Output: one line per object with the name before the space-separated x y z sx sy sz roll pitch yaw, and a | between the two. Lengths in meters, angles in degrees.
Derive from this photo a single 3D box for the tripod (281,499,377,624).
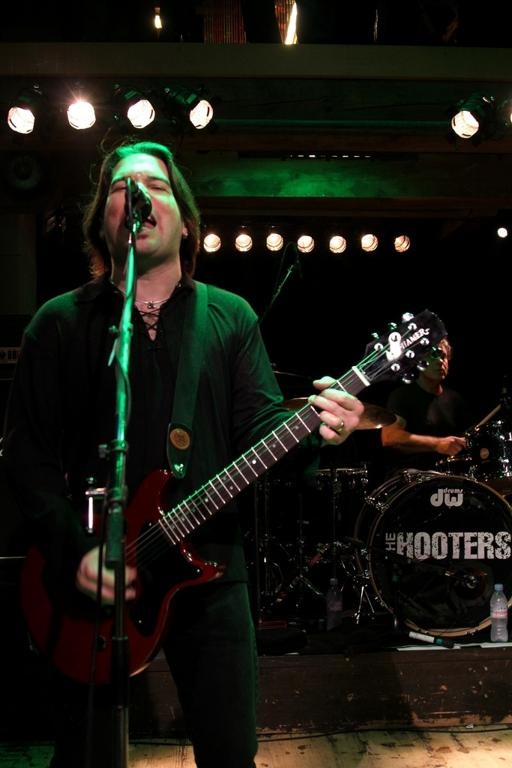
tripod | 0.472 1.234 5.338 0.878 0.740 0.803 2 -14 3

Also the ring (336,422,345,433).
ring | 0.216 0.109 1.914 0.015 0.034 0.004 32 -21 -12

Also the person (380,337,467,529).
person | 1.151 0.328 5.125 0.643 1.208 0.177 17 -12 -4

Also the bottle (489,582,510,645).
bottle | 1.318 1.241 4.070 0.109 0.266 0.402 -6 -6 17

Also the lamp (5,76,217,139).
lamp | -0.756 -1.454 3.876 0.945 0.188 0.173 -5 -31 3
